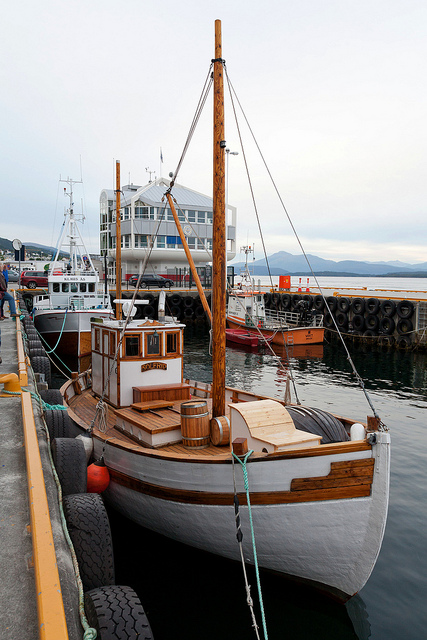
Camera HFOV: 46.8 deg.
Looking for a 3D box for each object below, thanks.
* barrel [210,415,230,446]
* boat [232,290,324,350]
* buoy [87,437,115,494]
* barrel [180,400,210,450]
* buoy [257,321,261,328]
[{"bbox_3d":[0.095,1.596,7.062,0.277,0.406,0.297,-1,4,0],"label":"barrel"},{"bbox_3d":[3.699,0.067,29.578,2.945,3.141,6.617,-4,8,-33],"label":"boat"},{"bbox_3d":[-1.603,2.169,6.938,0.375,0.985,0.427,8,-14,-16],"label":"buoy"},{"bbox_3d":[-0.256,1.498,7.212,0.414,0.666,0.424,-2,7,0],"label":"barrel"},{"bbox_3d":[2.733,0.224,29.189,0.168,0.295,0.509,0,4,2],"label":"buoy"}]
